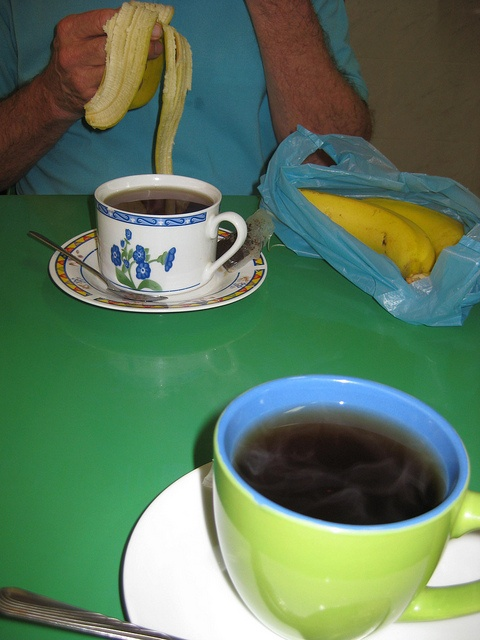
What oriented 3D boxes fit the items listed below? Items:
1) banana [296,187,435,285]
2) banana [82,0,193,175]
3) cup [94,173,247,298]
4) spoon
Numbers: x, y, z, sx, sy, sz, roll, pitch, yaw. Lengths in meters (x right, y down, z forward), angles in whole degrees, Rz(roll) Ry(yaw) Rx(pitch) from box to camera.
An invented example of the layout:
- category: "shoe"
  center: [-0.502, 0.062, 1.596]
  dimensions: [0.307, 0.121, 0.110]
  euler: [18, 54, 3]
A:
- category: "banana"
  center: [0.152, -0.098, 0.625]
  dimensions: [0.165, 0.056, 0.074]
  euler: [30, 8, 15]
- category: "banana"
  center: [-0.113, -0.274, 0.671]
  dimensions: [0.106, 0.176, 0.228]
  euler: [4, 27, -7]
- category: "cup"
  center: [-0.074, -0.069, 0.570]
  dimensions: [0.153, 0.080, 0.109]
  euler: [15, 37, 8]
- category: "spoon"
  center: [-0.140, -0.046, 0.539]
  dimensions: [0.141, 0.018, 0.015]
  euler: [29, 52, -14]
